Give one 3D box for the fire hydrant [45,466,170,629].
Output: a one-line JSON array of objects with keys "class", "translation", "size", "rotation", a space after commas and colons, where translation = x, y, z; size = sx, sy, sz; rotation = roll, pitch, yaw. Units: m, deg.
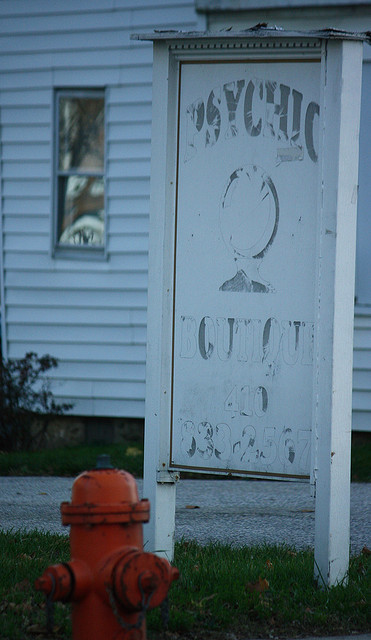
[{"class": "fire hydrant", "translation": [-0.353, 0.950, 5.184], "size": [0.507, 0.989, 0.512], "rotation": [0, 0, -7]}]
